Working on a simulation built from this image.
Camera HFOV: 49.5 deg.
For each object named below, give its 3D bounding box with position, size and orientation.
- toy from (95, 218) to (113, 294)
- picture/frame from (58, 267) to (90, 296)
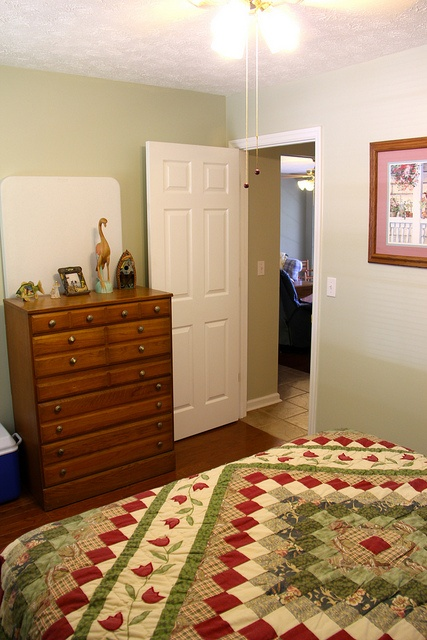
[{"bbox_3d":[-0.706,-0.416,2.947,0.085,0.472,0.270,-3,6,-13],"label":"toy"},{"bbox_3d":[-0.858,-0.229,2.791,0.160,0.183,0.026,-19,3,-41],"label":"picture/frame"}]
